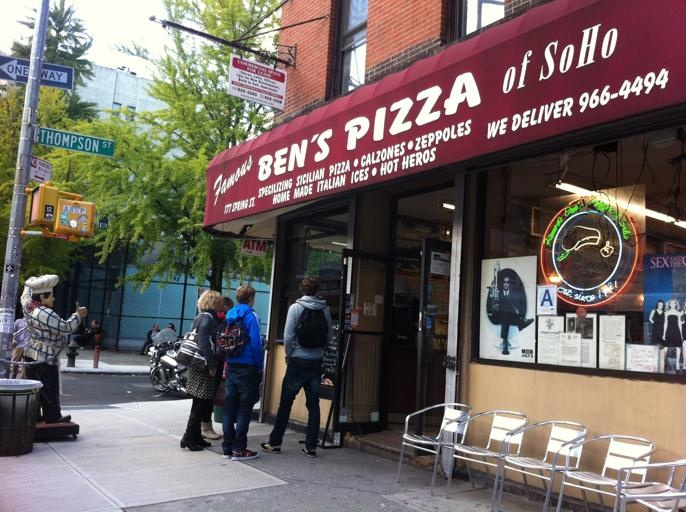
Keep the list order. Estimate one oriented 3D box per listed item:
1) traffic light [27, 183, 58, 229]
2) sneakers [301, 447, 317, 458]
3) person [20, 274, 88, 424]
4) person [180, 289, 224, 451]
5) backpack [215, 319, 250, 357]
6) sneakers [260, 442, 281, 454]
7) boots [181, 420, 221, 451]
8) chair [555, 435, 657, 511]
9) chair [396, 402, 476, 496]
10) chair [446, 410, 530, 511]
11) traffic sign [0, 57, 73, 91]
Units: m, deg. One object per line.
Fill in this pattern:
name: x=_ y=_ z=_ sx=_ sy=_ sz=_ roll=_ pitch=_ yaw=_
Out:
traffic light: x=-4.657 y=-0.805 z=8.771 sx=0.579 sy=0.654 sz=0.372 roll=-4 pitch=-11 yaw=45
sneakers: x=-0.459 y=2.713 z=7.837 sx=0.208 sy=0.118 sz=0.251 roll=5 pitch=-8 yaw=-7
person: x=-4.165 y=1.308 z=7.965 sx=0.829 sy=2.108 sz=0.895 roll=8 pitch=-9 yaw=-28
person: x=-2.022 y=1.592 z=8.011 sx=0.525 sy=2.234 sz=0.808 roll=5 pitch=-8 yaw=-11
backpack: x=-1.519 y=1.056 z=7.673 sx=0.437 sy=0.587 sz=0.298 roll=5 pitch=12 yaw=10
sneakers: x=-1.021 y=2.661 z=7.934 sx=0.121 sy=0.132 sz=0.313 roll=8 pitch=-2 yaw=-43
boots: x=-1.941 y=2.515 z=7.954 sx=0.236 sy=0.526 sz=0.654 roll=-3 pitch=-8 yaw=36
chair: x=2.578 y=2.107 z=5.485 sx=0.616 sy=0.869 sz=0.656 roll=21 pitch=-25 yaw=-33
chair: x=1.027 y=2.353 z=7.138 sx=0.953 sy=1.364 sz=0.956 roll=15 pitch=-18 yaw=-41
chair: x=1.474 y=2.314 z=6.521 sx=0.957 sy=1.360 sz=0.944 roll=-11 pitch=-20 yaw=44
traffic sign: x=-4.919 y=-2.992 z=9.057 sx=1.049 sy=0.498 sz=0.443 roll=7 pitch=-8 yaw=-19
